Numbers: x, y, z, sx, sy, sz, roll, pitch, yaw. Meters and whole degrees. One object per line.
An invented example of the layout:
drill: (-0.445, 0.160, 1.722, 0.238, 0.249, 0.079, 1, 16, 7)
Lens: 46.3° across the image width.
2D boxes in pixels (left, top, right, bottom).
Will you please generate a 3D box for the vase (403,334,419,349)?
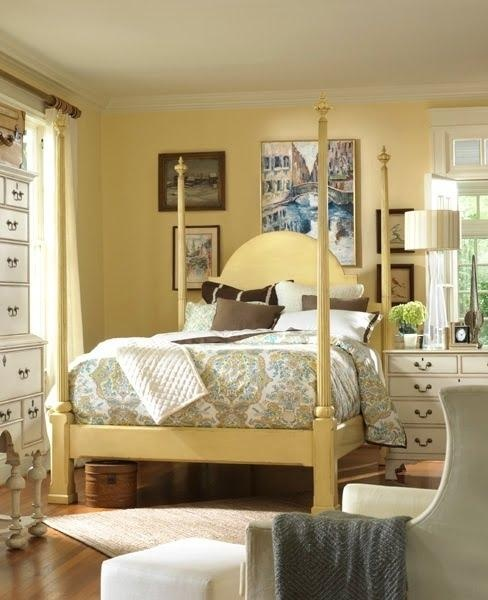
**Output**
vase: (1.205, 0.297, 4.104, 0.124, 0.132, 0.101, 4, 5, 19)

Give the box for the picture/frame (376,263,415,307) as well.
picture/frame: (1.259, -0.121, 4.667, 0.423, 0.507, 0.039, 0, 1, 4)

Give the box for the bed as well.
bed: (-0.132, 0.043, 4.302, 2.245, 2.701, 2.148, 0, 1, 16)

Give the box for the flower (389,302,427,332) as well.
flower: (1.227, 0.123, 4.207, 0.245, 0.222, 0.247, 6, -6, -28)

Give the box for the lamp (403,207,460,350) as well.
lamp: (1.464, -0.208, 4.236, 0.371, 0.861, 0.349, -2, 7, 22)

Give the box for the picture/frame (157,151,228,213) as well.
picture/frame: (-0.426, -1.054, 5.070, 0.729, 0.588, 0.050, 0, 0, 9)
